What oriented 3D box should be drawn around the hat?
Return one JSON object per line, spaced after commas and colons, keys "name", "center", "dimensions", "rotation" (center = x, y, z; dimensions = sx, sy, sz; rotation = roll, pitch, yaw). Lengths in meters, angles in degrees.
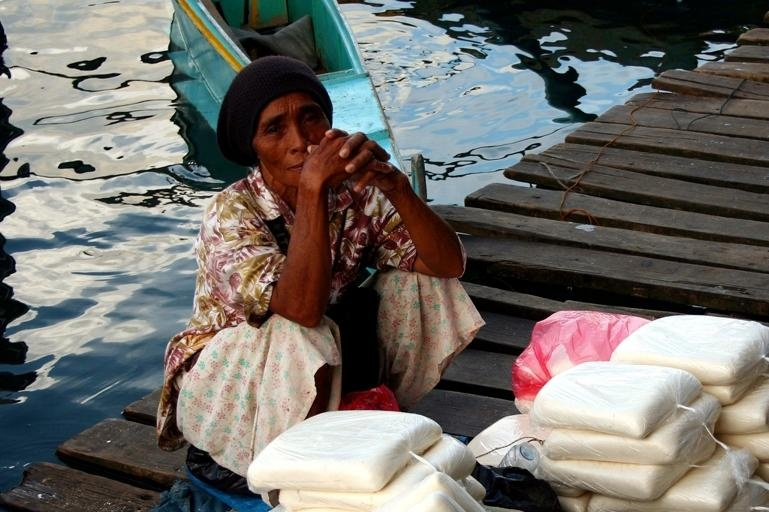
{"name": "hat", "center": [-0.498, -0.622, 3.266], "dimensions": [0.495, 0.498, 0.234], "rotation": [-19, 38, -17]}
